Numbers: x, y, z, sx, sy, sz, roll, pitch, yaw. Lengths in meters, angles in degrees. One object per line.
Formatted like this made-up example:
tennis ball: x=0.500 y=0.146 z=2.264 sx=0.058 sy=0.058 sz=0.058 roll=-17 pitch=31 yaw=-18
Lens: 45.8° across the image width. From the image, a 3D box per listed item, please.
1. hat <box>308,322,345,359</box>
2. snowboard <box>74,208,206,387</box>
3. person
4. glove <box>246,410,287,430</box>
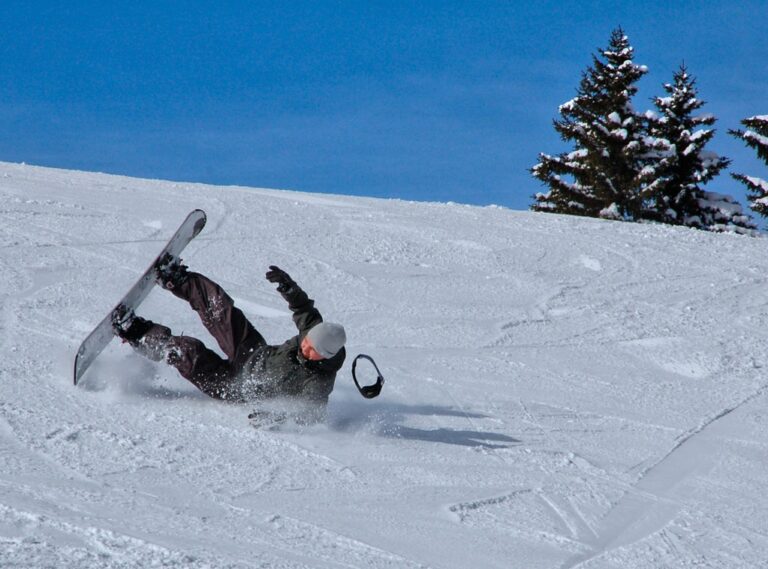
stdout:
hat: x=-0.600 y=0.555 z=9.037 sx=0.386 sy=0.302 sz=0.279 roll=29 pitch=41 yaw=-54
snowboard: x=-2.618 y=-0.042 z=9.846 sx=0.266 sy=2.620 sz=0.662 roll=27 pitch=-30 yaw=20
person: x=-1.650 y=0.653 z=9.546 sx=2.237 sy=1.454 sz=0.768 roll=24 pitch=-28 yaw=1
glove: x=-1.158 y=1.334 z=8.926 sx=0.464 sy=0.177 sz=0.132 roll=7 pitch=47 yaw=-12
